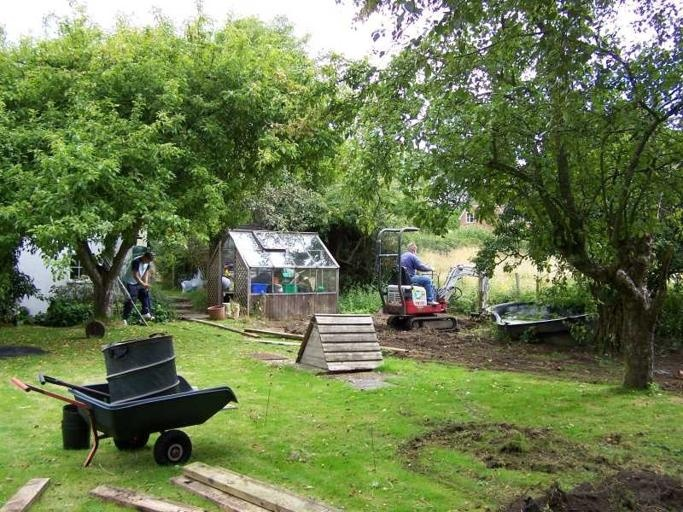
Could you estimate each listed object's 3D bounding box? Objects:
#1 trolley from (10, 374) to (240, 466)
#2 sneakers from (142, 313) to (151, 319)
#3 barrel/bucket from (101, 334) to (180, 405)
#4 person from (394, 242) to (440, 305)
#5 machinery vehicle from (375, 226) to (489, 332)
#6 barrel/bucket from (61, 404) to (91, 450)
[{"bbox_3d":[-2.577,2.012,7.736,2.104,0.972,1.401,1,-2,-35],"label":"trolley"},{"bbox_3d":[-5.736,1.758,17.872,0.189,0.108,0.247,3,-5,0],"label":"sneakers"},{"bbox_3d":[-2.614,1.440,8.027,0.826,0.897,0.855,-16,-4,-1],"label":"barrel/bucket"},{"bbox_3d":[2.380,0.516,18.765,1.261,1.842,1.128,-3,7,-19],"label":"person"},{"bbox_3d":[3.069,0.736,19.327,3.666,3.200,1.631,-1,2,-24],"label":"machinery vehicle"},{"bbox_3d":[-3.550,2.268,8.098,0.318,0.555,0.332,7,13,-2],"label":"barrel/bucket"}]
